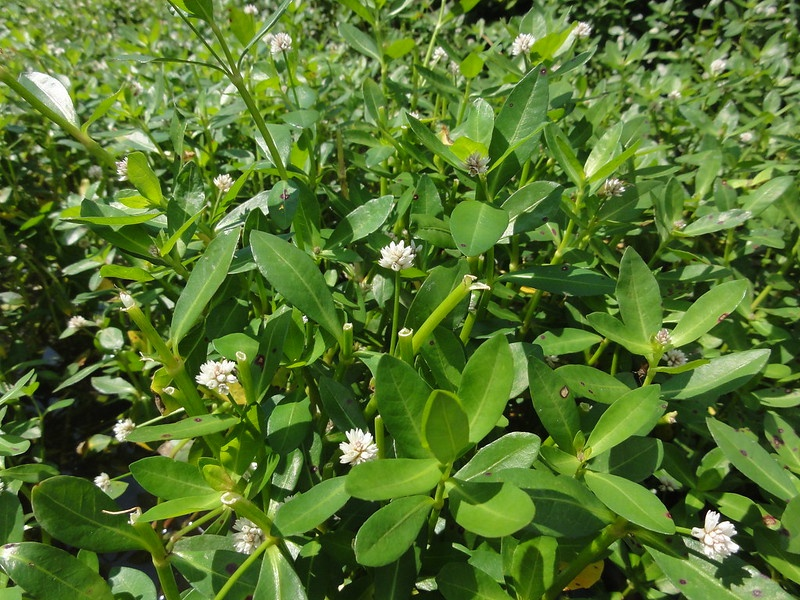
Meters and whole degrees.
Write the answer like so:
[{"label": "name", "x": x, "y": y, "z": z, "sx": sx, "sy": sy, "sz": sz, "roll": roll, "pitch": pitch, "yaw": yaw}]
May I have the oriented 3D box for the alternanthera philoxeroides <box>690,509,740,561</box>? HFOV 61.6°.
[{"label": "alternanthera philoxeroides", "x": 0.856, "y": 0.635, "z": 1.867, "sx": 0.094, "sy": 0.092, "sz": 0.047, "roll": -31, "pitch": 83, "yaw": -16}]
